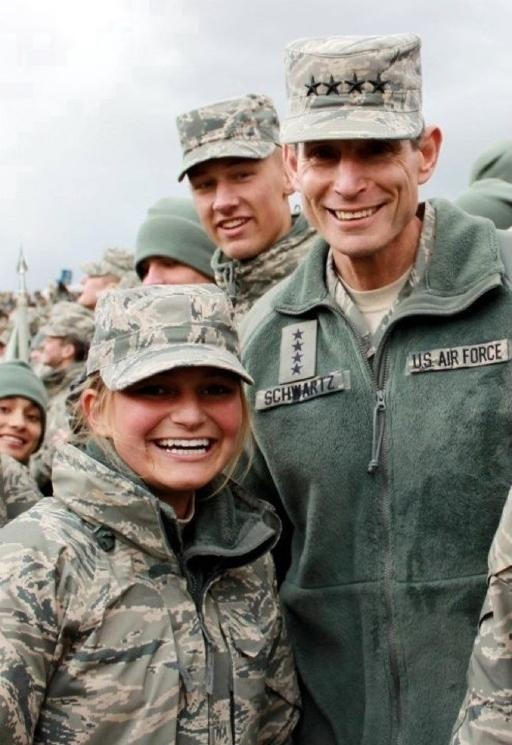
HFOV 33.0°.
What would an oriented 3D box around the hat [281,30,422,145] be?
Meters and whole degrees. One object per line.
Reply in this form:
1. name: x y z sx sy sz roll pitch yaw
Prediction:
1. hat: 0.281 -0.867 2.631 0.432 0.394 0.241 -4 -4 8
